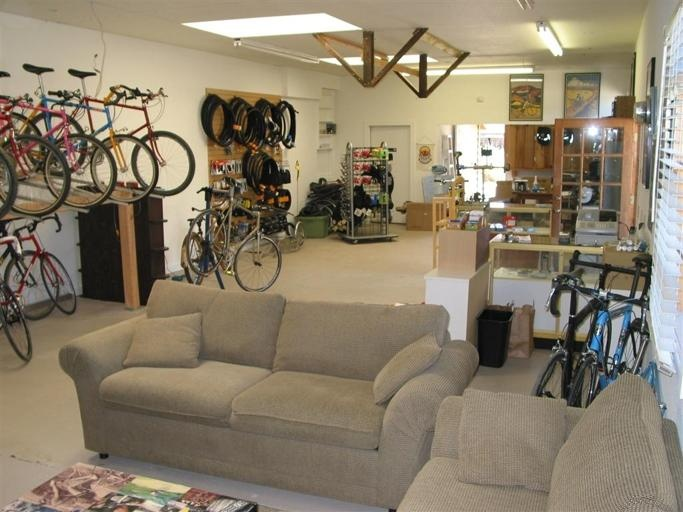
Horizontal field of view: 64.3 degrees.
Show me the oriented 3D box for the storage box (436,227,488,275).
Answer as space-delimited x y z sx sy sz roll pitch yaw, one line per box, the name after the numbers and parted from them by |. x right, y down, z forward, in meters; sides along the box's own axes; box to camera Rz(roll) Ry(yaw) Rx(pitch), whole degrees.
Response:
1.237 -0.202 5.610 0.385 0.464 0.737 4 7 27 | storage box

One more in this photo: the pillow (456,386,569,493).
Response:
0.899 0.991 3.040 0.471 0.500 0.198 0 -10 10 | pillow

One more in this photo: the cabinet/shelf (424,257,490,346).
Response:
1.083 0.435 5.088 0.273 0.721 0.745 2 12 23 | cabinet/shelf

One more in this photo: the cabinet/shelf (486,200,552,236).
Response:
2.609 -0.544 8.040 0.648 0.475 0.372 2 4 20 | cabinet/shelf

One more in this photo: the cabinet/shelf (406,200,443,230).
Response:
1.857 -0.939 12.830 0.683 0.646 0.716 0 3 5 | cabinet/shelf

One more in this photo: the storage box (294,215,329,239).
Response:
-0.545 -0.672 12.404 0.813 0.494 0.432 -9 16 -33 | storage box

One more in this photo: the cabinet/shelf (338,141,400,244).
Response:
0.565 -1.396 11.852 1.150 2.109 1.136 -1 13 -2 | cabinet/shelf
